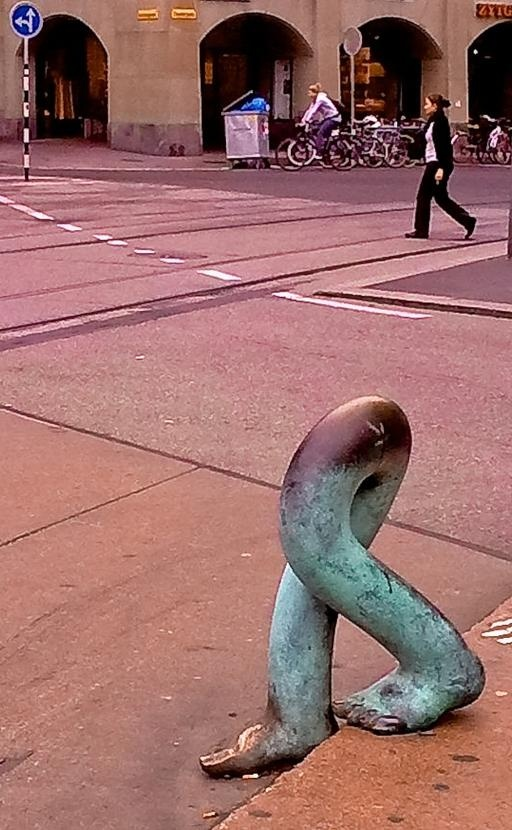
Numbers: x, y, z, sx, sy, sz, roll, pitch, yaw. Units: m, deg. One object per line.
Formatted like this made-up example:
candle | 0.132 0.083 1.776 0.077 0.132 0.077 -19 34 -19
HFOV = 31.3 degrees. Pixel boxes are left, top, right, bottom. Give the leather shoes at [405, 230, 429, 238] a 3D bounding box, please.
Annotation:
leather shoes | 2.048 -2.297 11.663 0.318 0.136 0.107 0 10 5

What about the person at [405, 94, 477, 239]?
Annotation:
person | 2.424 -3.202 11.863 0.792 1.780 1.317 4 15 11

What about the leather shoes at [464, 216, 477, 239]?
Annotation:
leather shoes | 2.752 -2.404 11.679 0.094 0.354 0.264 14 9 22
